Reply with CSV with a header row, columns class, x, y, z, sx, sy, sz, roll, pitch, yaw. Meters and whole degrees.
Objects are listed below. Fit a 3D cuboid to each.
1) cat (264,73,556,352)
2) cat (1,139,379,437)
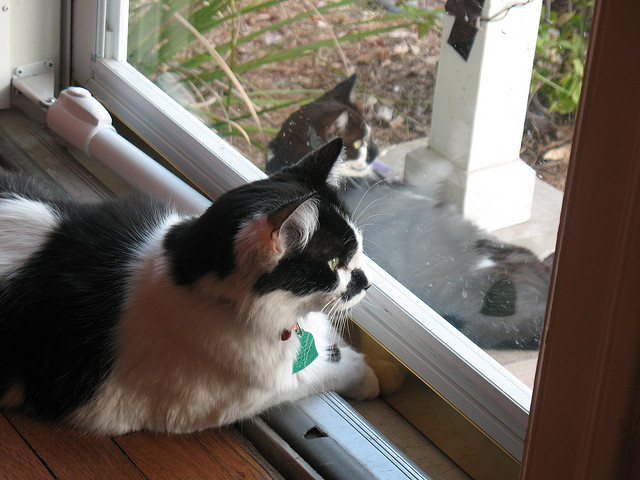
class,x,y,z,sx,sy,sz,roll,pitch,yaw
cat,0.269,0.080,1.789,0.307,0.562,1.202,66,8,8
cat,-0.130,0.035,1.494,1.142,0.726,0.406,4,22,9
